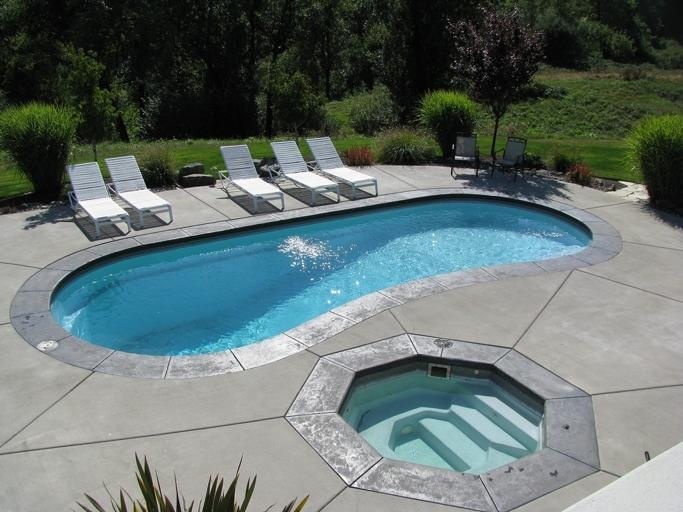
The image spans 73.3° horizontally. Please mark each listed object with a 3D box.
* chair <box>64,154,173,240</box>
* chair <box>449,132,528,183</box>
[{"bbox_3d":[-5.480,-1.520,10.961,1.739,1.234,2.395,-18,29,-34],"label":"chair"},{"bbox_3d":[4.605,-3.172,14.537,2.132,1.217,2.196,4,24,13],"label":"chair"}]
